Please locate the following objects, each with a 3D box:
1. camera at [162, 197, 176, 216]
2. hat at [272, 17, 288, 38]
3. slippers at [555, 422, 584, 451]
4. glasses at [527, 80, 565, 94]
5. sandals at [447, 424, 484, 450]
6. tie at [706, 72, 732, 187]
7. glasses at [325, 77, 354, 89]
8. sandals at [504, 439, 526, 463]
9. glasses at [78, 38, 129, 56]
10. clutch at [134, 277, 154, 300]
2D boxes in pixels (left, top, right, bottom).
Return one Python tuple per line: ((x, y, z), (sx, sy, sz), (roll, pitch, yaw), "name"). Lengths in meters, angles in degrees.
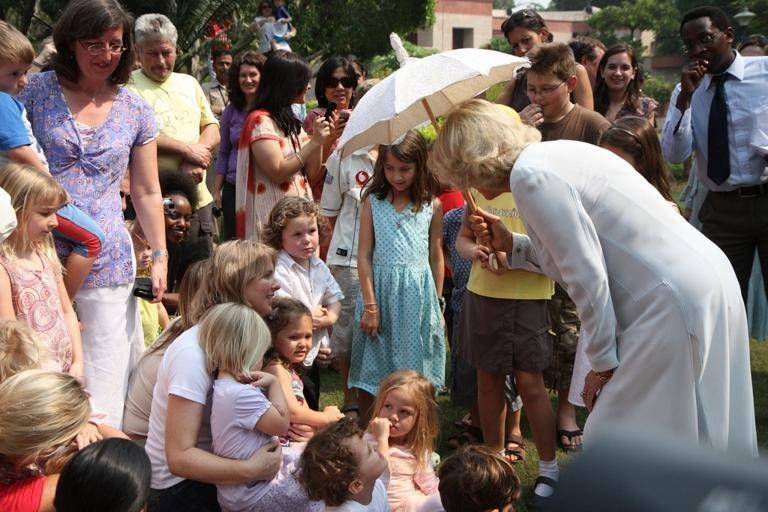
((-1.710, -0.397, 6.109), (0.099, 0.135, 0.047), (-21, 17, -41), "camera")
((-1.509, -3.358, 11.306), (0.287, 0.403, 0.224), (0, 0, -13), "hat")
((1.327, 1.294, 5.449), (0.177, 0.110, 0.349), (4, 8, 13), "slippers")
((1.146, -1.202, 5.445), (0.242, 0.083, 0.102), (9, 10, 39), "glasses")
((0.602, 1.302, 5.496), (0.283, 0.114, 0.161), (5, -11, -39), "sandals")
((2.547, -0.959, 5.752), (0.198, 0.832, 0.090), (7, 9, 31), "tie")
((-0.371, -1.545, 6.778), (0.260, 0.104, 0.099), (0, 8, -17), "glasses")
((0.913, 1.337, 5.276), (0.134, 0.131, 0.236), (4, 8, 11), "sandals")
((-1.653, -1.219, 4.474), (0.215, 0.084, 0.045), (-1, 8, -23), "glasses")
((-1.521, 0.209, 4.855), (0.125, 0.133, 0.168), (0, 8, -20), "clutch")
